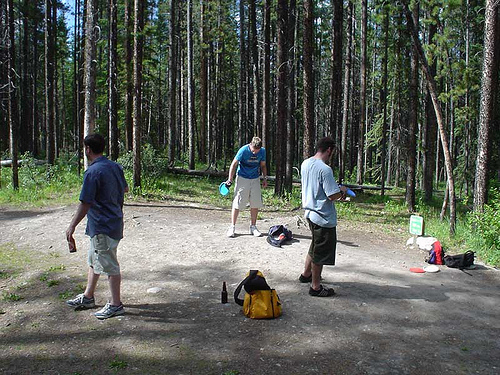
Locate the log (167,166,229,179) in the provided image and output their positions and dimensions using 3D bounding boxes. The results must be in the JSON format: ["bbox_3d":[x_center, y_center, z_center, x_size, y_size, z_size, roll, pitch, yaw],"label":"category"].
[{"bbox_3d":[-3.093,-0.840,27.332,4.237,0.686,0.739,4,-8,-11],"label":"log"}]

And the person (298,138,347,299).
[{"bbox_3d":[1.406,0.596,9.360,0.607,3.039,0.874,-5,14,-29],"label":"person"}]

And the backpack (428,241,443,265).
[{"bbox_3d":[4.841,1.695,12.388,0.360,0.468,0.447,7,14,23],"label":"backpack"}]

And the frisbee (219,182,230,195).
[{"bbox_3d":[-0.695,0.079,12.716,0.194,0.321,0.458,-1,13,-12],"label":"frisbee"}]

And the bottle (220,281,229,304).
[{"bbox_3d":[-0.494,1.954,9.172,0.162,0.439,0.318,1,12,-3],"label":"bottle"}]

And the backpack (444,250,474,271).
[{"bbox_3d":[5.360,1.854,12.181,0.478,0.233,0.509,-1,1,11],"label":"backpack"}]

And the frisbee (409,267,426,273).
[{"bbox_3d":[4.086,2.020,11.647,0.401,0.040,0.269,-1,14,-14],"label":"frisbee"}]

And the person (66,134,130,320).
[{"bbox_3d":[-2.714,0.694,8.536,0.920,3.170,0.832,-2,12,-14],"label":"person"}]
